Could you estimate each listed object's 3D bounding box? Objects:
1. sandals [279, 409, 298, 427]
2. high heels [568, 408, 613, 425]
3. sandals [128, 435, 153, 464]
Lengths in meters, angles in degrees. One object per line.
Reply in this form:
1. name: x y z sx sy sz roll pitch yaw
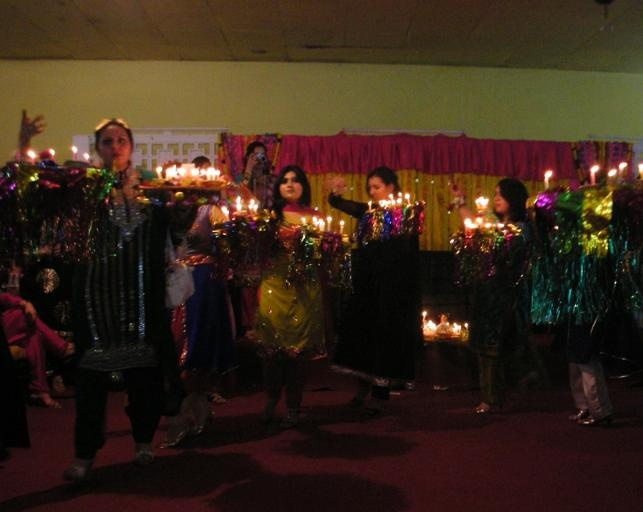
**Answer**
1. sandals: -0.214 1.144 4.543 0.139 0.125 0.083 2 2 -45
2. high heels: 1.889 1.138 4.544 0.272 0.109 0.099 -2 0 31
3. sandals: -1.112 1.213 3.936 0.074 0.137 0.206 7 -28 -17
